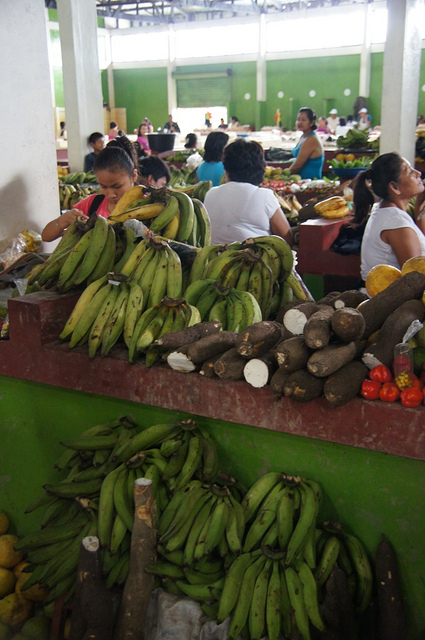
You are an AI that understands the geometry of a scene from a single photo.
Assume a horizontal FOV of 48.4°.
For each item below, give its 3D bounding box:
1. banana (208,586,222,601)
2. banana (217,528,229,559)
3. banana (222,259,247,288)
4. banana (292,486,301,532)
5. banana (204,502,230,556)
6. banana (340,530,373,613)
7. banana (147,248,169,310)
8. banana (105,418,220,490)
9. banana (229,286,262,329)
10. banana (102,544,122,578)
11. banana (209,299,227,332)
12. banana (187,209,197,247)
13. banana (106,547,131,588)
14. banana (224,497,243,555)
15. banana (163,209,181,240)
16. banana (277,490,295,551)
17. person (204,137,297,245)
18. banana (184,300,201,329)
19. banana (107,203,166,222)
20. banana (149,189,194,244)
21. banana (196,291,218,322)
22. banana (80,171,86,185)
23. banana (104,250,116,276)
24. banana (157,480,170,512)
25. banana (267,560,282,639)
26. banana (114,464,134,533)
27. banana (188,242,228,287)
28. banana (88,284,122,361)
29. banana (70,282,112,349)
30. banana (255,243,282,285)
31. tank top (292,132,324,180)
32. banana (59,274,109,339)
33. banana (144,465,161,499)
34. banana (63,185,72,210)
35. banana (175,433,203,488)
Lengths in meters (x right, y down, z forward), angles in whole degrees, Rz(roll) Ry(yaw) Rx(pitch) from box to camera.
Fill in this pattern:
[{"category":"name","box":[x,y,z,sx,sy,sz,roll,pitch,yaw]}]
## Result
[{"category":"banana","box":[0.011,0.757,1.311,0.020,0.015,0.056,-12,20,-35]},{"category":"banana","box":[0.033,0.645,1.358,0.026,0.077,0.028,9,9,-1]},{"category":"banana","box":[0.082,-0.176,1.788,0.032,0.113,0.046,36,2,26]},{"category":"banana","box":[0.238,0.529,1.337,0.034,0.098,0.023,-7,-8,30]},{"category":"banana","box":[0.017,0.583,1.345,0.047,0.043,0.159,-34,18,48]},{"category":"banana","box":[0.420,0.716,1.365,0.079,0.198,0.133,-5,21,-6]},{"category":"banana","box":[-0.187,-0.145,1.718,0.045,0.244,0.088,-3,-16,30]},{"category":"banana","box":[-0.162,0.433,1.464,0.274,0.098,0.210,-29,72,-15]},{"category":"banana","box":[0.112,-0.035,1.644,0.104,0.037,0.137,32,34,-35]},{"category":"banana","box":[-0.303,0.733,1.416,0.024,0.042,0.118,36,40,-15]},{"category":"banana","box":[0.031,-0.021,1.688,0.038,0.048,0.137,17,47,-1]},{"category":"banana","box":[-0.078,-0.411,2.105,0.057,0.156,0.033,-3,-15,25]},{"category":"banana","box":[-0.276,0.759,1.424,0.018,0.087,0.022,31,5,34]},{"category":"banana","box":[0.057,0.589,1.346,0.035,0.050,0.139,-16,55,12]},{"category":"banana","box":[-0.163,-0.380,1.969,0.043,0.154,0.050,17,13,-15]},{"category":"banana","box":[0.210,0.556,1.326,0.034,0.056,0.161,-14,52,41]},{"category":"person","box":[0.258,-0.855,3.248,0.601,0.818,0.487,14,43,23]},{"category":"banana","box":[-0.067,-0.012,1.572,0.051,0.064,0.134,-3,21,-1]},{"category":"banana","box":[-0.304,-0.431,1.903,0.237,0.066,0.072,-2,21,-1]},{"category":"banana","box":[-0.157,-0.444,1.943,0.073,0.216,0.183,-33,56,-32]},{"category":"banana","box":[-0.014,-0.047,1.716,0.025,0.109,0.039,31,-4,8]},{"category":"banana","box":[-1.951,-2.169,7.102,0.046,0.061,0.224,12,58,1]},{"category":"banana","box":[-0.398,-0.228,1.883,0.021,0.100,0.034,28,14,9]},{"category":"banana","box":[-0.150,0.545,1.462,0.024,0.087,0.030,2,-11,-22]},{"category":"banana","box":[0.166,0.743,1.253,0.034,0.029,0.169,9,61,-2]},{"category":"banana","box":[-0.264,0.534,1.462,0.048,0.075,0.221,8,55,-23]},{"category":"banana","box":[-0.015,-0.209,1.833,0.080,0.204,0.048,37,-9,-19]},{"category":"banana","box":[-0.373,0.014,1.654,0.061,0.059,0.280,24,64,5]},{"category":"banana","box":[-0.429,-0.010,1.692,0.057,0.248,0.065,24,-12,35]},{"category":"banana","box":[0.245,-0.221,1.869,0.039,0.139,0.109,-25,3,-35]},{"category":"tank top","box":[1.323,-2.235,6.469,0.388,0.614,0.678,1,21,9]},{"category":"banana","box":[-0.469,-0.042,1.729,0.089,0.253,0.054,34,-17,2]},{"category":"banana","box":[-0.179,0.486,1.423,0.029,0.102,0.035,-2,11,13]},{"category":"banana","box":[-1.826,-1.539,5.974,0.070,0.328,0.113,3,-14,-14]},{"category":"banana","box":[-0.065,0.426,1.438,0.058,0.043,0.154,17,63,-2]}]
